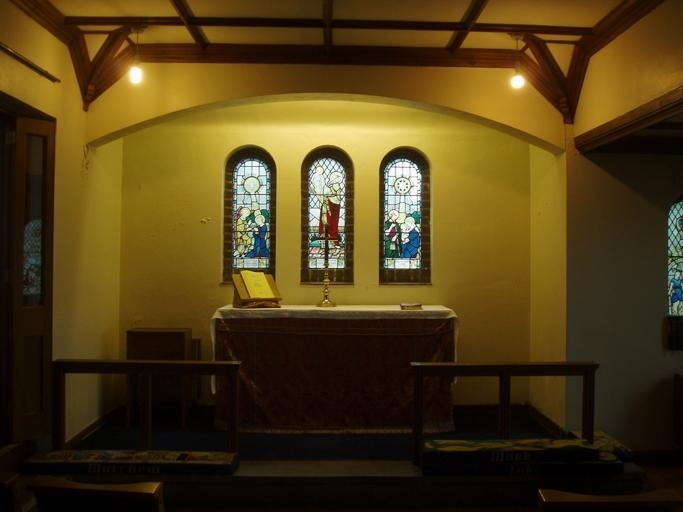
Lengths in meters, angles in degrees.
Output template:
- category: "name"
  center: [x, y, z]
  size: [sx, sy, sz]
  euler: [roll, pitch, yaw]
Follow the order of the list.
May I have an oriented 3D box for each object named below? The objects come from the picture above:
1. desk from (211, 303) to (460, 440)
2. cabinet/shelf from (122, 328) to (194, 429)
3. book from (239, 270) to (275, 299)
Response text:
- category: "desk"
  center: [-0.097, 1.300, 8.508]
  size: [3.130, 1.717, 1.258]
  euler: [0, 15, -3]
- category: "cabinet/shelf"
  center: [-2.358, 1.537, 8.340]
  size: [1.003, 1.698, 1.061]
  euler: [0, -4, -8]
- category: "book"
  center: [-1.088, 0.367, 8.230]
  size: [0.424, 0.363, 0.253]
  euler: [3, -6, -37]
